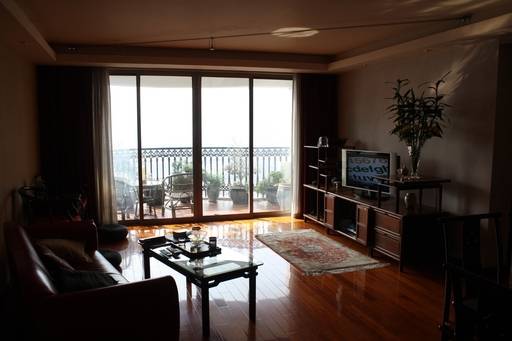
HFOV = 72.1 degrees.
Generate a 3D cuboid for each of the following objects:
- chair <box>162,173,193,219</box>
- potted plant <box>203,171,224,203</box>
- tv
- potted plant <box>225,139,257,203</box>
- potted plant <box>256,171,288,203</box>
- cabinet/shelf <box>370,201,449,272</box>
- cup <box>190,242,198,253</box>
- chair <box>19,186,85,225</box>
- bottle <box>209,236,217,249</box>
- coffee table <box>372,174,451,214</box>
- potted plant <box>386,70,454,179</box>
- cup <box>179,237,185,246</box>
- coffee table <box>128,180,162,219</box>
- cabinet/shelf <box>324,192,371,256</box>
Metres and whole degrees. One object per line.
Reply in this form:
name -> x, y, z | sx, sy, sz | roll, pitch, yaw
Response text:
chair -> -1.545, 0.482, 7.079 | 0.662, 0.859, 0.594 | -4, 1, -42
potted plant -> -0.886, 0.320, 7.205 | 0.413, 0.597, 0.393 | 2, -8, -25
tv -> 1.893, 0.049, 5.889 | 0.316, 0.771, 1.052 | 0, 5, -35
potted plant -> -0.291, -0.007, 7.347 | 0.583, 1.332, 0.727 | 0, -4, 32
potted plant -> 0.286, 0.288, 7.566 | 0.630, 0.664, 0.645 | -3, 8, -27
cabinet/shelf -> 2.180, 0.831, 5.521 | 1.248, 0.811, 1.255 | -2, 16, 7
cup -> -0.783, 0.965, 4.403 | 0.081, 0.092, 0.081 | 1, -4, 0
chair -> -3.114, 0.547, 5.420 | 0.670, 0.874, 0.691 | -2, 10, -20
bottle -> -0.539, 0.913, 4.482 | 0.110, 0.140, 0.117 | 0, 7, 0
coffee table -> 2.310, 0.306, 5.219 | 0.954, 0.522, 0.748 | -1, 12, -3
potted plant -> 2.371, -0.712, 5.408 | 0.822, 1.594, 1.117 | -2, 12, -8
cup -> -0.970, 0.936, 4.583 | 0.047, 0.079, 0.079 | 1, 12, -10
coffee table -> -2.100, 0.629, 6.897 | 0.475, 0.510, 0.502 | -6, 8, -26
cabinet/shelf -> 1.678, 0.836, 6.031 | 0.424, 0.749, 1.277 | -3, 8, -21
